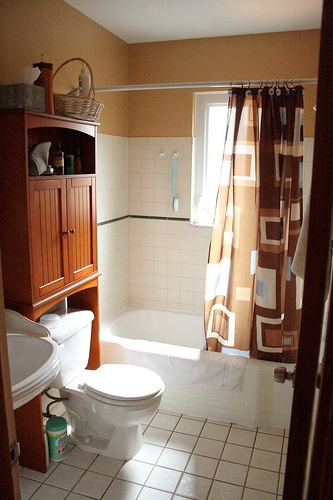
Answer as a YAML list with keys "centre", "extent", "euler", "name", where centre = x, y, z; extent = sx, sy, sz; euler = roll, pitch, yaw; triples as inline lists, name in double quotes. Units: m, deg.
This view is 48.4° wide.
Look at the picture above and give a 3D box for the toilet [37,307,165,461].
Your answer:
- centre: [-0.359, 0.722, 2.442]
  extent: [0.794, 0.965, 0.540]
  euler: [2, 11, 12]
  name: "toilet"
